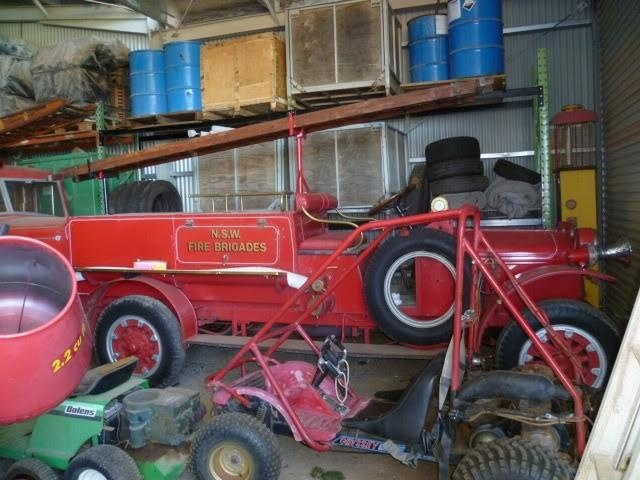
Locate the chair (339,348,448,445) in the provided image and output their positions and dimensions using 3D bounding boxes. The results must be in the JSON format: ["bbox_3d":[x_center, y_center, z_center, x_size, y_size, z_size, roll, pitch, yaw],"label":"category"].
[{"bbox_3d":[0.624,1.255,5.210,0.711,0.684,0.567,8,-4,18],"label":"chair"}]

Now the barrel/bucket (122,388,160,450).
[{"bbox_3d":[-1.406,1.446,5.128,0.330,0.324,0.357,-1,0,0],"label":"barrel/bucket"}]

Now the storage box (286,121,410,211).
[{"bbox_3d":[0.520,-1.117,9.547,1.351,1.201,1.417,-1,6,19],"label":"storage box"}]

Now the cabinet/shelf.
[{"bbox_3d":[-0.475,-0.297,8.120,6.298,3.971,2.718,0,1,10],"label":"cabinet/shelf"}]

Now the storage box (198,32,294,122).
[{"bbox_3d":[-0.991,-2.280,9.294,1.449,1.335,0.989,2,8,26],"label":"storage box"}]
